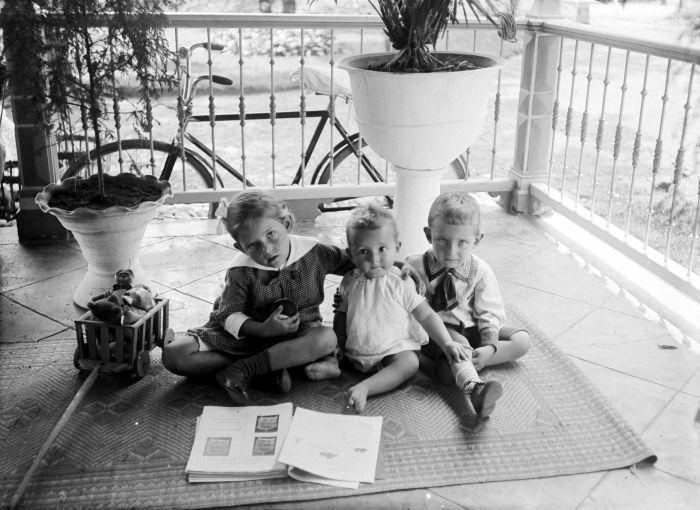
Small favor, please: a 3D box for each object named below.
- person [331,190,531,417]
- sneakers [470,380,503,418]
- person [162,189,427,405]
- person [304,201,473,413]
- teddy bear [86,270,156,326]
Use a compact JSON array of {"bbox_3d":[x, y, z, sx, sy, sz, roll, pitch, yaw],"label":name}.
[{"bbox_3d":[0.415,0.160,2.202,0.564,0.735,0.885,-7,19,-26],"label":"person"},{"bbox_3d":[0.475,0.508,1.894,0.071,0.195,0.085,-23,42,-22],"label":"sneakers"},{"bbox_3d":[-0.315,0.172,2.366,0.936,0.758,0.791,-2,10,-5],"label":"person"},{"bbox_3d":[0.129,0.186,2.379,0.821,0.859,0.691,-2,16,0],"label":"person"},{"bbox_3d":[-0.896,0.137,2.142,0.180,0.109,0.246,0,28,-9],"label":"teddy bear"}]
